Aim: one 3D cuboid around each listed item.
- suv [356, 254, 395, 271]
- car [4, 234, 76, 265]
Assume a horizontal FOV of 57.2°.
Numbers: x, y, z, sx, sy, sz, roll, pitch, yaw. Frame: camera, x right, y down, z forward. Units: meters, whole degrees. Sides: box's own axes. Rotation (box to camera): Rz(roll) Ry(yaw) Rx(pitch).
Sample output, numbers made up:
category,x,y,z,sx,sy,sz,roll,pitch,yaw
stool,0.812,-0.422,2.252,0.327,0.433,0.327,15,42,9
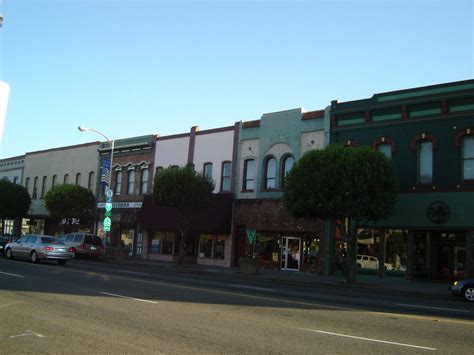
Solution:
category,x,y,z,sx,sy,sz,roll,pitch,yaw
suv,8.764,5.455,27.816,1.852,0.787,0.878,-3,-6,22
car,-12.199,4.358,26.596,4.700,1.806,1.276,-5,-13,30
